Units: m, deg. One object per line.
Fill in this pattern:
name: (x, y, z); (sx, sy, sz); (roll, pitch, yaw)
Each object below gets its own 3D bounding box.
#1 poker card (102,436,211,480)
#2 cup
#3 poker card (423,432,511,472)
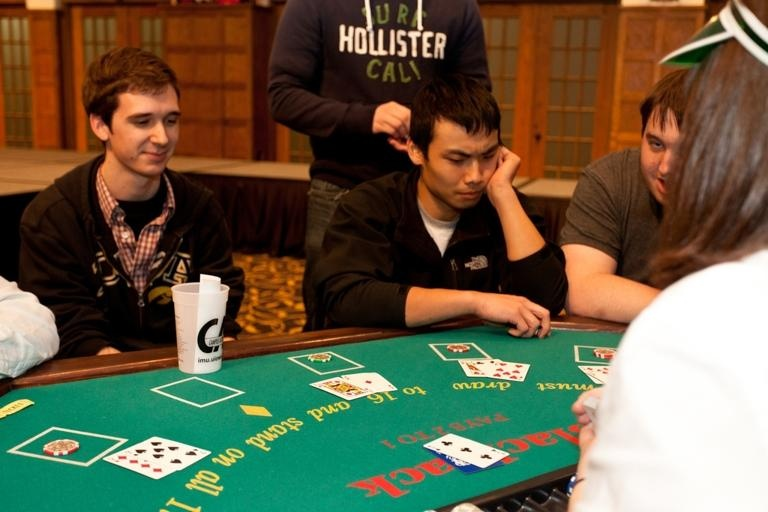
poker card: (-0.426, 0.373, 1.076); (0.160, 0.013, 0.113); (8, 14, 27)
cup: (-0.458, 0.173, 1.424); (0.117, 0.253, 0.131); (-2, 0, 0)
poker card: (0.160, 0.381, 1.127); (0.134, 0.016, 0.105); (13, 17, 42)
